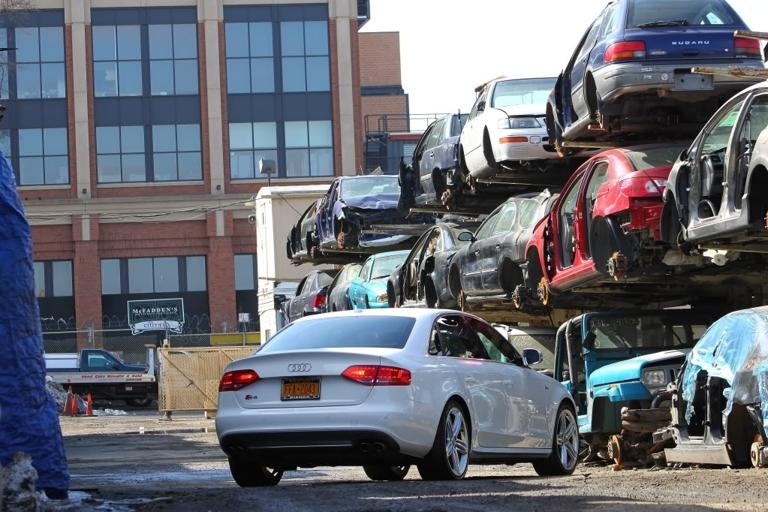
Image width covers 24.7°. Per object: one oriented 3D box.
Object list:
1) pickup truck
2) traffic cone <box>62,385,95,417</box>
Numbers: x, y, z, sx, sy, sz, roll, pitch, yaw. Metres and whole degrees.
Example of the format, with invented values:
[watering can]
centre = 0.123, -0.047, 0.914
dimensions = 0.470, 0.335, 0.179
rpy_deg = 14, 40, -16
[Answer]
[pickup truck]
centre = -9.710, 4.145, 59.982
dimensions = 3.678, 1.612, 2.076
rpy_deg = -1, -4, -4
[traffic cone]
centre = -9.818, 4.663, 56.161
dimensions = 0.953, 0.725, 1.004
rpy_deg = 1, -4, -4
